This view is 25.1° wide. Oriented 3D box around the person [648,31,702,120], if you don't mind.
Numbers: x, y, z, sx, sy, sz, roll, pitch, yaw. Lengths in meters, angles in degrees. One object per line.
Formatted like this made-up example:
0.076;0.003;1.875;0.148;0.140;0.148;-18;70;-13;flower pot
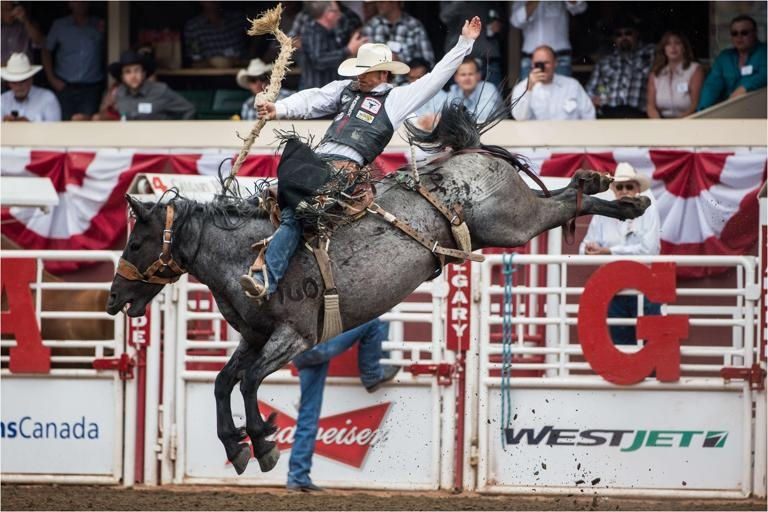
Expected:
3.741;-2.342;22.386;0.722;0.981;0.698;3;32;15;person

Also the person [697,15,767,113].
4.431;-2.501;22.157;0.831;0.960;0.797;0;31;11;person

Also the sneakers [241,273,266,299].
-1.324;0.326;17.854;0.171;0.280;0.242;22;40;38;sneakers

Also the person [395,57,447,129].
0.563;-2.013;22.244;0.415;1.272;0.791;1;2;26;person

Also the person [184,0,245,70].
-2.370;-3.115;24.404;1.202;0.929;0.553;-2;-2;-3;person

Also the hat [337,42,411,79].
-0.111;-2.072;18.391;0.535;0.193;0.474;-4;3;-34;hat
